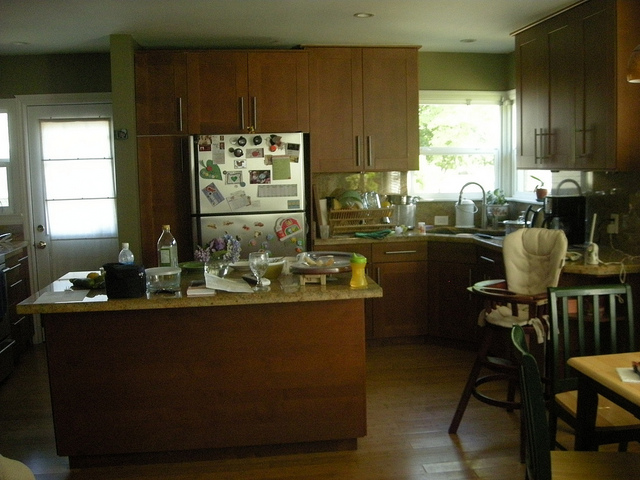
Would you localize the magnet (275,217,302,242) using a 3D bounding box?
[{"bbox_3d":[-0.308,-0.107,5.028,0.194,0.148,0.076,-23,6,-15],"label":"magnet"}]

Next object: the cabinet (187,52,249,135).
[{"bbox_3d":[-0.968,-1.371,5.030,0.710,0.714,0.456,0,13,-14],"label":"cabinet"}]

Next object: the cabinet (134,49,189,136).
[{"bbox_3d":[-1.525,-1.398,5.136,0.541,0.765,0.406,1,12,-10],"label":"cabinet"}]

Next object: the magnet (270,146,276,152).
[{"bbox_3d":[-0.442,-0.858,4.976,0.052,0.050,0.012,1,5,-8],"label":"magnet"}]

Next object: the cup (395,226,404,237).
[{"bbox_3d":[0.779,-0.086,5.229,0.100,0.067,0.063,1,-2,-3],"label":"cup"}]

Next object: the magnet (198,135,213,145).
[{"bbox_3d":[-1.058,-0.921,4.904,0.138,0.091,0.076,1,10,-1],"label":"magnet"}]

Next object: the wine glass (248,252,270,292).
[{"bbox_3d":[-0.367,0.178,3.278,0.121,0.229,0.232,-3,11,-7],"label":"wine glass"}]

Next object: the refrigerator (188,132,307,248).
[{"bbox_3d":[-0.695,-0.479,4.919,1.054,1.760,0.579,-2,5,-6],"label":"refrigerator"}]

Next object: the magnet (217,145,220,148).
[{"bbox_3d":[-0.936,-0.869,4.916,0.026,0.024,0.014,1,14,0],"label":"magnet"}]

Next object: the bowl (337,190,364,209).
[{"bbox_3d":[0.314,-0.430,5.338,0.199,0.056,0.195,-7,44,7],"label":"bowl"}]

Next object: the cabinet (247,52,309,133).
[{"bbox_3d":[-0.350,-1.449,5.319,0.687,0.728,0.621,-2,8,-7],"label":"cabinet"}]

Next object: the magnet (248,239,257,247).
[{"bbox_3d":[-0.539,0.021,4.265,0.069,0.020,0.068,2,5,19],"label":"magnet"}]

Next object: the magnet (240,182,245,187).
[{"bbox_3d":[-0.724,-0.523,4.956,0.044,0.042,0.010,1,3,-12],"label":"magnet"}]

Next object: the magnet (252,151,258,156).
[{"bbox_3d":[-0.608,-0.809,4.964,0.046,0.043,0.011,-3,1,-2],"label":"magnet"}]

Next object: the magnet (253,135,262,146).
[{"bbox_3d":[-0.584,-0.934,4.955,0.095,0.091,0.030,3,2,-3],"label":"magnet"}]

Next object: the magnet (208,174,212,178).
[{"bbox_3d":[-1.017,-0.591,4.915,0.042,0.037,0.010,0,0,0],"label":"magnet"}]

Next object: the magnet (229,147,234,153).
[{"bbox_3d":[-0.817,-0.839,4.932,0.040,0.041,0.009,-1,11,1],"label":"magnet"}]

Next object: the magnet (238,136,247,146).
[{"bbox_3d":[-0.726,-0.921,4.936,0.071,0.078,0.029,-4,12,-9],"label":"magnet"}]

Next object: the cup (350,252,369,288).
[{"bbox_3d":[0.246,0.186,3.320,0.116,0.187,0.236,-1,11,5],"label":"cup"}]

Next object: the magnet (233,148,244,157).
[{"bbox_3d":[-0.757,-0.814,4.940,0.079,0.081,0.020,-6,11,-22],"label":"magnet"}]

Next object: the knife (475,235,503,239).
[{"bbox_3d":[1.611,-0.028,5.062,0.234,0.031,0.059,5,3,24],"label":"knife"}]

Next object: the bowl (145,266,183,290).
[{"bbox_3d":[-0.983,0.241,3.343,0.214,0.115,0.222,-1,11,0],"label":"bowl"}]

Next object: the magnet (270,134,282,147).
[{"bbox_3d":[-0.413,-0.933,4.971,0.114,0.112,0.069,-3,22,-6],"label":"magnet"}]

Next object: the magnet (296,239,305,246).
[{"bbox_3d":[-0.183,0.020,5.058,0.056,0.020,0.055,-2,12,-12],"label":"magnet"}]

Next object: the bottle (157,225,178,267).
[{"bbox_3d":[-1.038,0.049,3.618,0.121,0.306,0.353,-5,11,-16],"label":"bottle"}]

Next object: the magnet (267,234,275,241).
[{"bbox_3d":[-0.457,-0.030,4.927,0.069,0.061,0.017,2,-4,2],"label":"magnet"}]

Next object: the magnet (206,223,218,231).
[{"bbox_3d":[-1.001,-0.125,4.942,0.063,0.060,0.015,4,19,-3],"label":"magnet"}]

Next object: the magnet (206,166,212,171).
[{"bbox_3d":[-1.029,-0.664,4.919,0.046,0.041,0.010,1,-8,-6],"label":"magnet"}]

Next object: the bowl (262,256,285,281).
[{"bbox_3d":[-0.305,0.188,3.539,0.157,0.112,0.154,0,2,0],"label":"bowl"}]

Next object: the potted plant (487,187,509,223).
[{"bbox_3d":[1.860,-0.341,5.592,0.211,0.314,0.228,-4,6,-36],"label":"potted plant"}]

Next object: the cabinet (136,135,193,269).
[{"bbox_3d":[-1.470,-0.399,5.181,0.413,1.188,0.573,-1,10,-19],"label":"cabinet"}]

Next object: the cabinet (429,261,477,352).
[{"bbox_3d":[1.269,0.626,5.150,0.455,0.787,0.497,-1,10,-15],"label":"cabinet"}]
